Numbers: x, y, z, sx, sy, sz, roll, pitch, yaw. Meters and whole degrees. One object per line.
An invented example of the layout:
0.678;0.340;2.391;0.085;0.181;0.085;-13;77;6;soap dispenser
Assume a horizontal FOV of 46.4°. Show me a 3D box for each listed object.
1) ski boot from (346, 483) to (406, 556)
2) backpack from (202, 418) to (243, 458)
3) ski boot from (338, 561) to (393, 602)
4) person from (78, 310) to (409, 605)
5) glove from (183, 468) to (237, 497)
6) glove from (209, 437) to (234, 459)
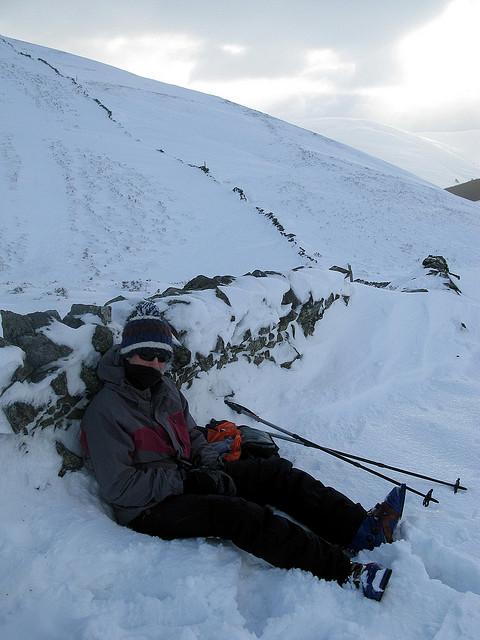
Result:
0.925;1.389;3.840;0.555;0.244;0.181;-48;25;-21;ski boot
-0.149;1.025;4.918;0.289;0.095;0.271;-11;30;-19;backpack
0.754;1.596;3.483;0.398;0.155;0.208;-10;8;45;ski boot
0.012;0.851;3.939;2.278;1.420;1.066;10;9;20;person
-0.223;1.157;4.002;0.301;0.084;0.208;2;-2;-8;glove
-0.131;1.065;4.674;0.140;0.055;0.136;-21;22;-30;glove
